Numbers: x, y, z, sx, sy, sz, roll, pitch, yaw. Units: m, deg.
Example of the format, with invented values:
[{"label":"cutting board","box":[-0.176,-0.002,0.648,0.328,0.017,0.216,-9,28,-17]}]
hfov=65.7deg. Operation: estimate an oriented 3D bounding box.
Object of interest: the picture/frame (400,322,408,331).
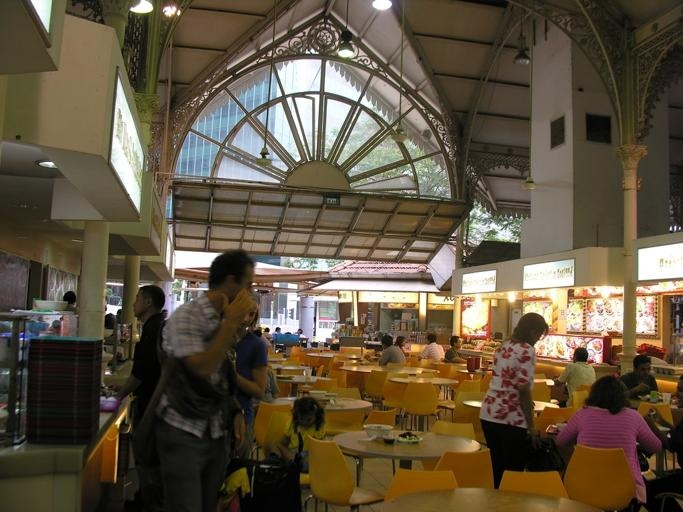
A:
[{"label":"picture/frame","box":[3.034,3.428,25.569,0.357,0.570,0.372,-1,-2,9]}]

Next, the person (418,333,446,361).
[{"label":"person","box":[2.624,2.620,15.105,0.542,0.756,2.209,1,-7,8]}]

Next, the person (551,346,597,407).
[{"label":"person","box":[4.247,2.310,9.576,0.633,1.309,0.727,6,-6,21]}]

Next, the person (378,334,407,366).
[{"label":"person","box":[1.228,2.274,12.770,0.576,0.725,0.786,2,-7,5]}]

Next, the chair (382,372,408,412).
[{"label":"chair","box":[1.041,2.660,10.261,0.605,0.708,0.608,4,-2,-10]}]

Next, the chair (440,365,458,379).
[{"label":"chair","box":[2.485,2.665,12.155,0.301,0.417,0.322,-2,-15,18]}]

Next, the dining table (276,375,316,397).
[{"label":"dining table","box":[-0.874,2.479,9.943,0.686,0.448,1.503,3,-7,-4]}]

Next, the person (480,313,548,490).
[{"label":"person","box":[1.697,1.499,5.298,0.572,1.918,0.572,1,13,-4]}]

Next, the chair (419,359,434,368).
[{"label":"chair","box":[2.255,2.864,13.984,0.223,0.224,0.232,4,-5,-5]}]

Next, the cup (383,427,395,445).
[{"label":"cup","box":[0.456,1.745,5.106,0.113,0.068,0.167,0,-8,1]}]

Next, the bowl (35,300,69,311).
[{"label":"bowl","box":[-3.466,0.598,6.289,0.230,0.077,0.238,1,-3,0]}]

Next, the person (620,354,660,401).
[{"label":"person","box":[4.668,1.939,8.207,0.500,0.762,0.483,6,-9,-8]}]
